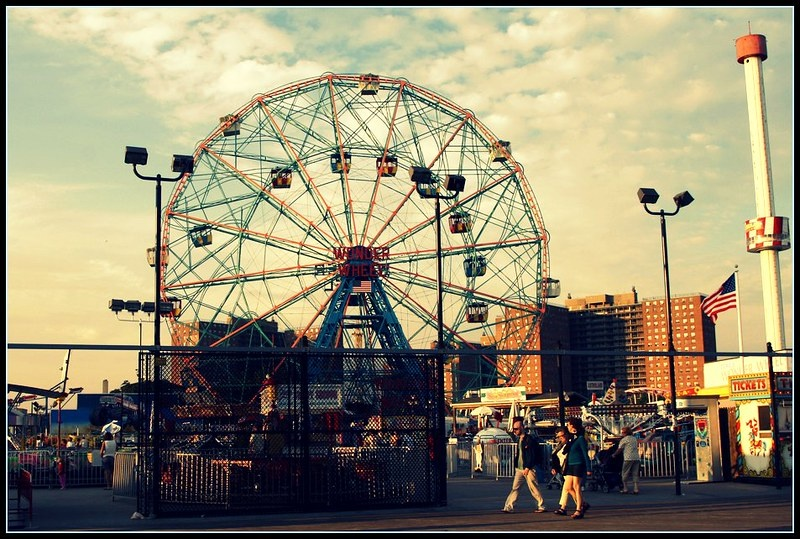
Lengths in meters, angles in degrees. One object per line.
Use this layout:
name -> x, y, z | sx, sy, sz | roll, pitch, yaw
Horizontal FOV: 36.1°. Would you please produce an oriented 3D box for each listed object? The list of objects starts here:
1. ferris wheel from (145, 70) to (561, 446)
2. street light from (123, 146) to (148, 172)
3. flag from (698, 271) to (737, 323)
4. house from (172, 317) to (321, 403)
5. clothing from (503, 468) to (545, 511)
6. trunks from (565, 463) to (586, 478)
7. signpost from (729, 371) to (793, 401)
ferris wheel -> -1.423, -0.092, 42.453 | 13.667, 13.341, 4.448 | -8, 22, -1
street light -> -9.363, -3.973, 43.225 | 0.655, 0.715, 0.982 | 3, 0, -10
flag -> 12.409, 1.086, 47.874 | 1.541, 1.854, 0.186 | -17, 30, -7
house -> -5.414, 2.939, 40.266 | 3.946, 2.105, 3.512 | 5, 19, 13
clothing -> 3.962, 7.014, 39.406 | 1.285, 1.274, 0.855 | 3, -1, 7
trunks -> 5.479, 6.282, 38.553 | 0.633, 0.427, 0.424 | -3, -29, 13
signpost -> 13.711, 4.459, 46.813 | 2.238, 0.964, 1.640 | 2, 0, 14
